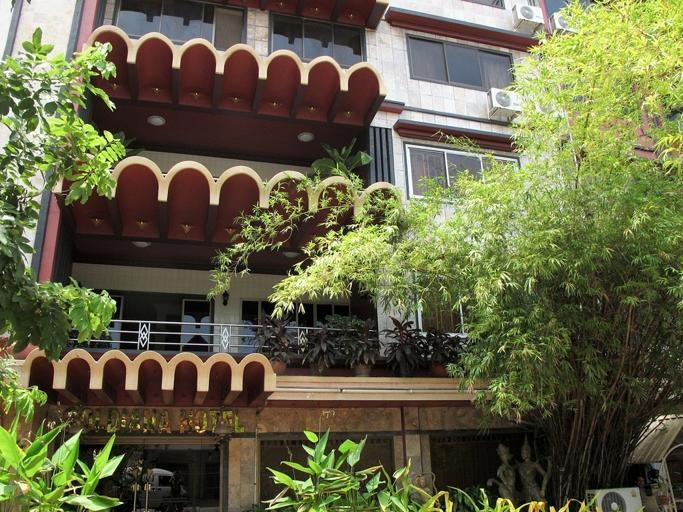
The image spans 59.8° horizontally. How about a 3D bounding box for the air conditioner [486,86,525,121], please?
[{"bbox_3d":[3.941,-3.706,14.454,0.740,0.584,0.395,7,-19,-20],"label":"air conditioner"}]
